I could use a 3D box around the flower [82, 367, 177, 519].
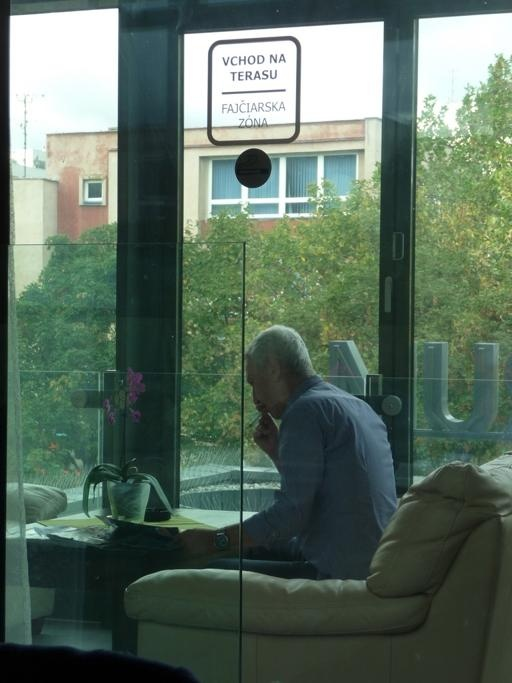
[{"bbox_3d":[-0.253,0.194,2.164,0.176,0.288,0.167,-1,-1,-39],"label":"flower"}]

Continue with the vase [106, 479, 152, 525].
[{"bbox_3d":[-0.240,0.294,2.145,0.065,0.091,0.084,-1,-3,-10],"label":"vase"}]

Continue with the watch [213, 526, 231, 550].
[{"bbox_3d":[-0.064,0.361,2.102,0.023,0.045,0.037,-1,-9,7],"label":"watch"}]
